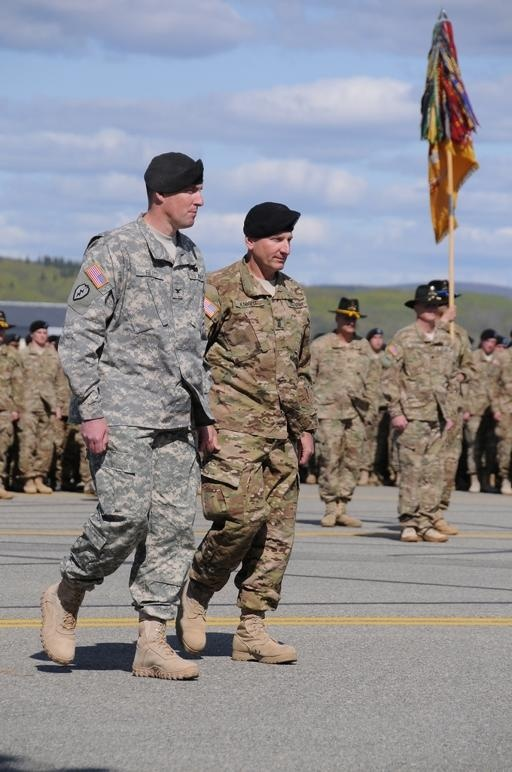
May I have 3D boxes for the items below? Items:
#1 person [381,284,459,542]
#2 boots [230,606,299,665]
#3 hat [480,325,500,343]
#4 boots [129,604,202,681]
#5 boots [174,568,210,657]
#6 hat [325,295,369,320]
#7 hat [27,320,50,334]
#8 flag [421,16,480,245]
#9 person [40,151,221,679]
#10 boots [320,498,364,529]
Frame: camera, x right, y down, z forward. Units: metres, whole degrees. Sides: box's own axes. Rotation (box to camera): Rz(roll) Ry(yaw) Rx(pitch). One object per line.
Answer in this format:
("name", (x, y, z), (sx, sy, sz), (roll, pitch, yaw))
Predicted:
("person", (1.282, 0.223, 11.541), (0.589, 1.522, 0.502), (4, 2, 6))
("boots", (0.037, 1.095, 6.262), (0.354, 0.194, 0.122), (-6, -12, 40))
("hat", (3.116, -0.692, 19.249), (0.196, 0.178, 0.243), (2, -19, -1))
("boots", (-0.377, 1.051, 5.822), (0.310, 0.253, 0.132), (0, -9, 30))
("boots", (-0.317, 0.991, 6.280), (0.113, 0.341, 0.173), (11, -36, -38))
("hat", (0.889, -0.756, 13.922), (0.376, 0.131, 0.364), (6, -1, -11))
("hat", (-2.586, -0.715, 16.709), (0.255, 0.102, 0.301), (8, -19, -27))
("flag", (1.705, -2.242, 12.818), (0.531, 1.508, 0.856), (4, 2, 7))
("person", (-0.488, 0.108, 5.790), (0.710, 2.116, 0.491), (3, 2, -17))
("boots", (0.738, 1.121, 12.670), (0.362, 0.163, 0.463), (3, 2, 4))
